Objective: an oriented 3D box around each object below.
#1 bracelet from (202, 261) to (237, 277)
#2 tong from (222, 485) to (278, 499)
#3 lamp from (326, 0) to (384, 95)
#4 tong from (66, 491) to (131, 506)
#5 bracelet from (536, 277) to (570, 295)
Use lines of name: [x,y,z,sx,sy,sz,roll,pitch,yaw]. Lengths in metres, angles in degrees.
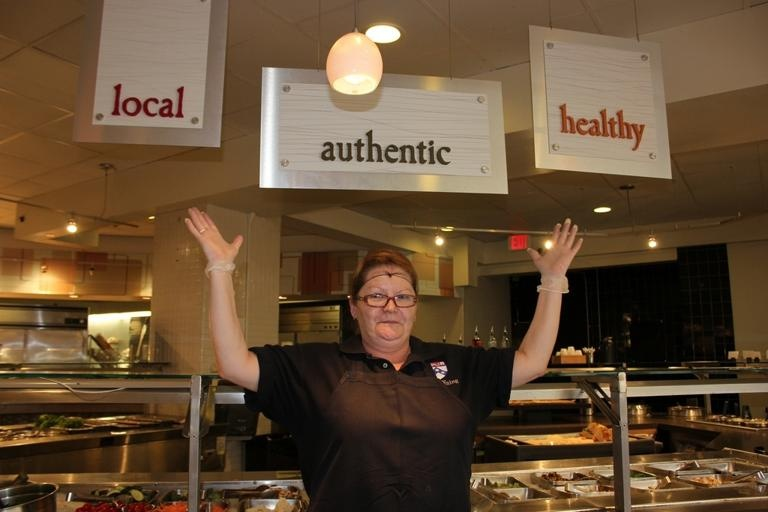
bracelet: [-0.780,0.063,3.073,0.098,0.040,0.073,-6,-1,11]
tong: [-0.748,1.355,3.686,0.212,0.054,0.120,-1,-2,-2]
lamp: [-0.159,-1.041,3.395,0.277,0.324,0.158,-2,-1,-5]
tong: [-1.630,1.355,3.596,0.371,0.056,0.061,-2,-1,18]
bracelet: [0.872,0.152,3.334,0.129,0.114,0.103,0,-1,-13]
